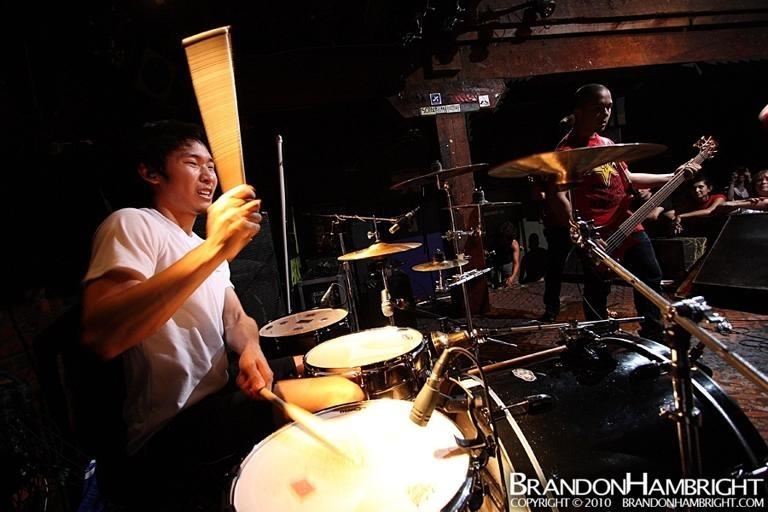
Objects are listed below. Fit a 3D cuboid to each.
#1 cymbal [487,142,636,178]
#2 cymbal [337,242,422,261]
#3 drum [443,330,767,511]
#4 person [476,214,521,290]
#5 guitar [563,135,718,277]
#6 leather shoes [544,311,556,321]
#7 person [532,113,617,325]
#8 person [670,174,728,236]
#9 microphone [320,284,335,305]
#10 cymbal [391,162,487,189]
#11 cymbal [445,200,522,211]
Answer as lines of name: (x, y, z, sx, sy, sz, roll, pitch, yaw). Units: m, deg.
cymbal: (1.241, -0.641, 3.479, 1.016, 0.229, 0.575, 0, 17, 13)
cymbal: (-0.068, -0.041, 5.094, 0.442, 0.088, 0.414, -11, 7, 12)
drum: (1.329, 0.986, 3.475, 1.095, 1.237, 1.257, -15, -11, -20)
person: (2.143, -0.058, 9.056, 0.641, 1.225, 1.624, -1, 18, 13)
guitar: (2.532, -0.580, 4.689, 1.100, 0.951, 0.405, -15, 21, -29)
leather shoes: (2.064, 0.742, 6.300, 0.116, 0.108, 0.122, 1, -8, -5)
person: (2.175, -0.382, 6.037, 0.281, 2.390, 1.023, 1, -1, 41)
person: (4.794, -0.728, 7.735, 1.016, 0.797, 0.723, -4, 0, -35)
microphone: (-0.606, 0.404, 5.346, 0.096, 0.094, 0.354, 14, 24, 7)
cymbal: (0.643, -0.917, 5.866, 0.675, 0.125, 0.635, -13, 9, 15)
cymbal: (1.523, -0.767, 7.774, 0.717, 0.042, 0.675, -4, -2, -13)
